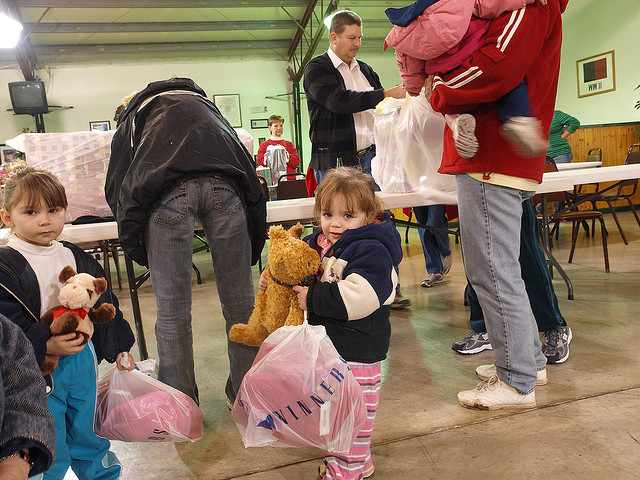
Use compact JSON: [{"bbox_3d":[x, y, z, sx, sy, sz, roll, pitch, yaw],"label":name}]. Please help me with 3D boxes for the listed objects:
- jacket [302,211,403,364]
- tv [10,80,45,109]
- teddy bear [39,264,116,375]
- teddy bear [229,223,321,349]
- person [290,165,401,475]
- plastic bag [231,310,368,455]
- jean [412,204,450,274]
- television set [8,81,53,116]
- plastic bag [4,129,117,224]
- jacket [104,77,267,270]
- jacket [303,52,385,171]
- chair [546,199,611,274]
[{"bbox_3d":[0.052,0.147,1.806,0.414,0.518,0.512,-2,4,-9],"label":"jacket"},{"bbox_3d":[-5.969,-2.973,9.847,0.535,0.553,0.304,-3,15,-11],"label":"tv"},{"bbox_3d":[-0.787,0.209,1.570,0.148,0.245,0.211,2,7,44],"label":"teddy bear"},{"bbox_3d":[-0.134,0.148,1.660,0.289,0.418,0.297,9,1,-15],"label":"teddy bear"},{"bbox_3d":[0.113,0.268,1.775,0.358,1.075,0.714,-2,5,8],"label":"person"},{"bbox_3d":[-0.052,0.430,1.509,0.453,0.417,0.247,-6,-4,10],"label":"plastic bag"},{"bbox_3d":[0.864,-0.099,3.759,0.209,0.746,0.206,4,-4,30],"label":"jean"},{"bbox_3d":[-6.017,-2.929,9.942,0.760,0.737,0.414,-5,16,-8],"label":"television set"},{"bbox_3d":[-1.365,-0.402,2.690,0.643,0.617,0.166,-2,1,-13],"label":"plastic bag"},{"bbox_3d":[-0.545,-0.313,2.001,0.547,0.681,0.356,-11,-4,-25],"label":"jacket"},{"bbox_3d":[0.144,-0.834,3.090,0.576,0.754,0.338,-2,5,15],"label":"jacket"},{"bbox_3d":[2.277,-0.114,4.240,0.486,0.602,0.447,4,-21,-43],"label":"chair"}]
